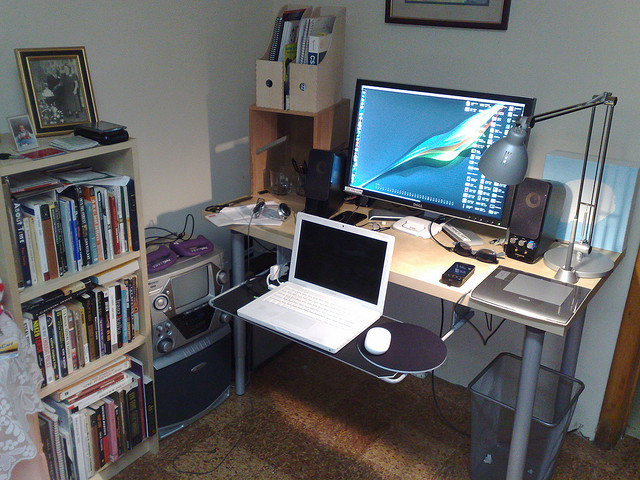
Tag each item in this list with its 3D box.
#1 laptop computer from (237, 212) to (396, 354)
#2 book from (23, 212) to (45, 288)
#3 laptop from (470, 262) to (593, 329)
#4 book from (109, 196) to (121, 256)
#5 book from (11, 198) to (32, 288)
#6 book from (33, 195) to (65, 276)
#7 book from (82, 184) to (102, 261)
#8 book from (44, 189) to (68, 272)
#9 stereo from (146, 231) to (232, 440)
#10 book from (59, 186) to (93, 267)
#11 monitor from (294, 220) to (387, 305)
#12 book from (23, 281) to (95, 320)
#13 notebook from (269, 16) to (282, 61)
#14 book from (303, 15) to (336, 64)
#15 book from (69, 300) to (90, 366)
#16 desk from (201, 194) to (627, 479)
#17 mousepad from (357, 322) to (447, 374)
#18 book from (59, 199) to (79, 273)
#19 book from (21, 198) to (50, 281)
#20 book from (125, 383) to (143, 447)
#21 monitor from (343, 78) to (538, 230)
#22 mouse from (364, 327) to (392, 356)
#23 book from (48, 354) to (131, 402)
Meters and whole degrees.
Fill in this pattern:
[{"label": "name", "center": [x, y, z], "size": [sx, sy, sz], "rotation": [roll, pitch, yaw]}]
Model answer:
[{"label": "laptop computer", "center": [-0.014, 0.146, 1.998], "size": [0.479, 0.331, 0.405], "rotation": [13, 26, 25]}, {"label": "book", "center": [-1.031, 0.027, 1.877], "size": [0.034, 0.228, 0.196], "rotation": [-12, 27, -29]}, {"label": "laptop", "center": [0.772, 0.203, 1.903], "size": [0.361, 0.050, 0.292], "rotation": [16, 28, 30]}, {"label": "book", "center": [-0.811, -0.052, 2.079], "size": [0.041, 0.243, 0.017], "rotation": [-13, 27, -29]}, {"label": "book", "center": [-1.052, 0.014, 1.848], "size": [0.020, 0.223, 0.118], "rotation": [-17, 30, -40]}, {"label": "book", "center": [-0.974, -0.002, 1.931], "size": [0.122, 0.248, 0.036], "rotation": [18, 25, 29]}, {"label": "book", "center": [-0.878, -0.077, 2.007], "size": [0.034, 0.258, 0.218], "rotation": [-13, 24, -28]}, {"label": "book", "center": [-0.966, -0.059, 1.960], "size": [0.099, 0.214, 0.025], "rotation": [18, 26, 31]}, {"label": "stereo", "center": [-0.666, 0.387, 2.488], "size": [0.365, 0.988, 0.355], "rotation": [-15, 30, -41]}, {"label": "book", "center": [-0.926, -0.061, 1.968], "size": [0.042, 0.272, 0.233], "rotation": [-14, 24, -33]}, {"label": "monitor", "center": [0.075, 0.085, 2.107], "size": [0.429, 0.316, 0.007], "rotation": [15, 16, 23]}, {"label": "book", "center": [-0.985, 0.236, 1.991], "size": [0.058, 0.057, 0.281], "rotation": [16, 28, 30]}, {"label": "notebook", "center": [-0.211, -0.941, 2.473], "size": [0.046, 0.214, 0.046], "rotation": [15, 23, 1]}, {"label": "book", "center": [-0.002, -0.956, 2.483], "size": [0.053, 0.219, 0.228], "rotation": [6, 11, 19]}, {"label": "book", "center": [-0.950, 0.358, 2.053], "size": [0.028, 0.275, 0.202], "rotation": [-16, 24, -31]}, {"label": "desk", "center": [0.456, 0.715, 2.684], "size": [2.071, 1.233, 1.075], "rotation": [18, 28, 29]}, {"label": "mousepad", "center": [0.313, 0.381, 1.844], "size": [0.214, 0.045, 0.212], "rotation": [-19, 30, -36]}, {"label": "book", "center": [-0.943, -0.027, 1.957], "size": [0.033, 0.266, 0.198], "rotation": [-12, 24, -26]}, {"label": "book", "center": [-1.013, -0.001, 1.923], "size": [0.123, 0.240, 0.027], "rotation": [19, 26, 31]}, {"label": "book", "center": [-0.802, 0.742, 2.241], "size": [0.036, 0.278, 0.208], "rotation": [-12, 27, -27]}, {"label": "monitor", "center": [0.465, -0.393, 2.271], "size": [0.983, 0.638, 0.119], "rotation": [19, 28, 37]}, {"label": "mouse", "center": [0.211, 0.348, 1.855], "size": [0.085, 0.062, 0.141], "rotation": [8, 25, 15]}, {"label": "book", "center": [-0.961, 0.523, 2.160], "size": [0.202, 0.121, 0.262], "rotation": [24, 22, 35]}]
